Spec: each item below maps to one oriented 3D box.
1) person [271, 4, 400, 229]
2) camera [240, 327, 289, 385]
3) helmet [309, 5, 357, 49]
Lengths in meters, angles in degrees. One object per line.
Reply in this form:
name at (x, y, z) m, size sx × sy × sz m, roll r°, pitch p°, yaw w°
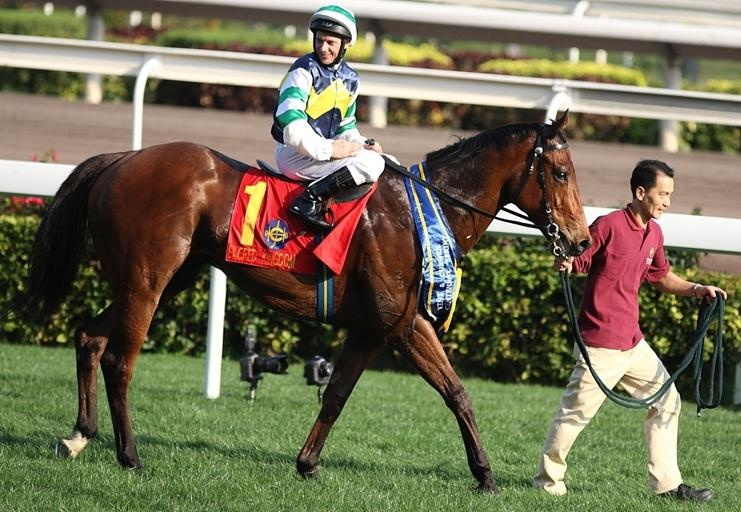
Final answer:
person at (-0.368, -1.100, 12.172) m, size 0.840 × 1.751 × 0.414 m, roll -5°, pitch -13°, yaw -4°
camera at (-1.007, 0.951, 14.025) m, size 0.435 × 0.586 × 0.371 m, roll -10°, pitch 25°, yaw -31°
helmet at (-0.298, -1.866, 12.313) m, size 0.292 × 0.356 × 0.350 m, roll -5°, pitch 20°, yaw -15°
